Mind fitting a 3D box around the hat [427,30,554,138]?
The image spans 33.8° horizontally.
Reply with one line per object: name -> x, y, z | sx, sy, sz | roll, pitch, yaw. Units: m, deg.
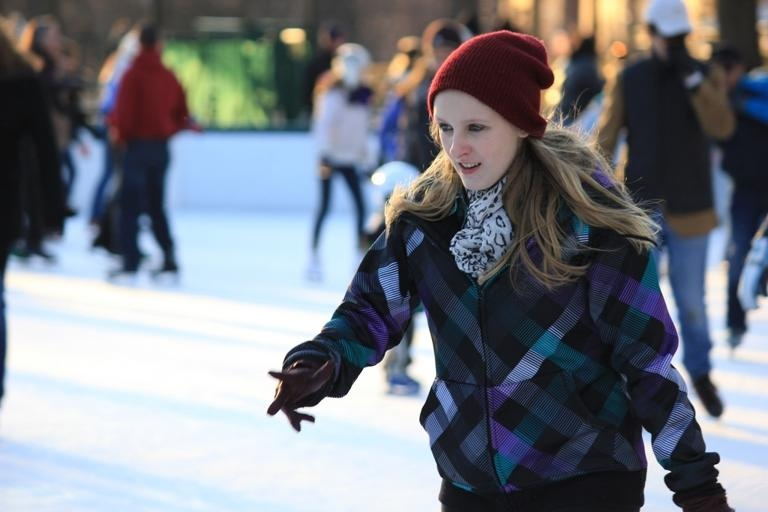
hat -> 0.470, -0.766, 5.957 | 0.516, 0.491, 0.418 | 2, -2, -23

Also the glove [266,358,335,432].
glove -> -0.391, 0.604, 5.684 | 0.274, 0.323, 0.104 | 36, -7, -7
